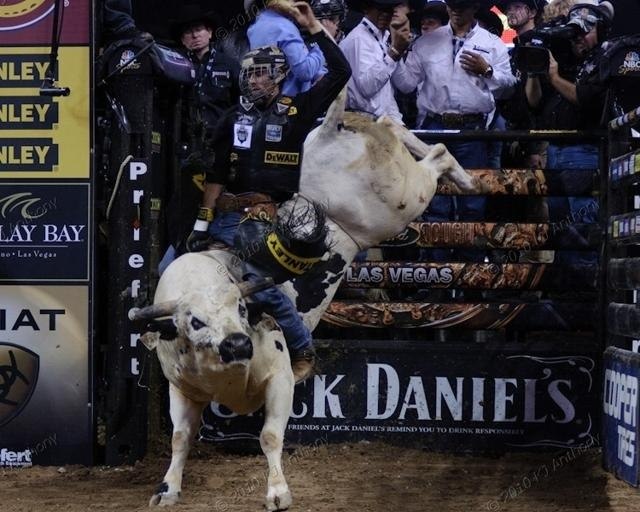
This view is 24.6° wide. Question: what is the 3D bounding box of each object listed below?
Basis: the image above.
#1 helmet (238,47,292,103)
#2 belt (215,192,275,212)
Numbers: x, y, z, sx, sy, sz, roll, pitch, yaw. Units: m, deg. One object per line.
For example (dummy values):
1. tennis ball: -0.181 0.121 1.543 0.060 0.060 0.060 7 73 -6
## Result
1. helmet: -0.412 -1.384 11.070 0.462 0.389 0.372 -12 12 -33
2. belt: -0.584 -0.421 11.016 0.321 0.100 0.177 -2 0 -16
